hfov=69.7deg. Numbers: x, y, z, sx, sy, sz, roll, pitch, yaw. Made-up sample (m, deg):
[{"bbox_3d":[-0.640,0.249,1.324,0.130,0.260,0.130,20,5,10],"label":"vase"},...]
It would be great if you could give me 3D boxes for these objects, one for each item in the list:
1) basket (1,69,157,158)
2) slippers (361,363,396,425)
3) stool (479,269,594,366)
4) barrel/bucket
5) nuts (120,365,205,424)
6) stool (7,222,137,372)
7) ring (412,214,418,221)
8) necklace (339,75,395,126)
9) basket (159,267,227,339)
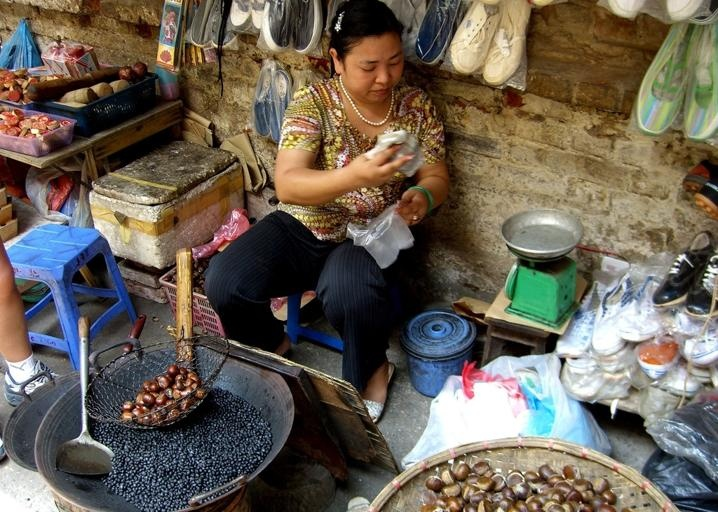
[{"bbox_3d":[-2.027,-1.027,3.696,0.927,0.352,0.621,0,31,13],"label":"basket"},{"bbox_3d":[0.145,0.821,3.113,0.137,0.097,0.384,18,68,18],"label":"slippers"},{"bbox_3d":[1.000,0.369,3.124,0.550,0.560,0.654,16,30,29],"label":"stool"},{"bbox_3d":[0.504,0.528,3.120,0.491,0.538,0.374,-22,36,-38],"label":"barrel/bucket"},{"bbox_3d":[-0.910,0.648,2.388,0.202,0.134,0.328,-20,30,-40],"label":"nuts"},{"bbox_3d":[-1.865,0.286,3.581,0.800,0.903,0.863,5,28,4],"label":"stool"},{"bbox_3d":[0.318,-0.220,2.907,0.029,0.023,0.023,14,-6,-34],"label":"ring"},{"bbox_3d":[0.066,-0.902,2.954,0.257,0.295,0.260,8,25,22],"label":"necklace"},{"bbox_3d":[-0.998,0.288,3.153,0.356,0.337,0.317,22,35,38],"label":"basket"}]
